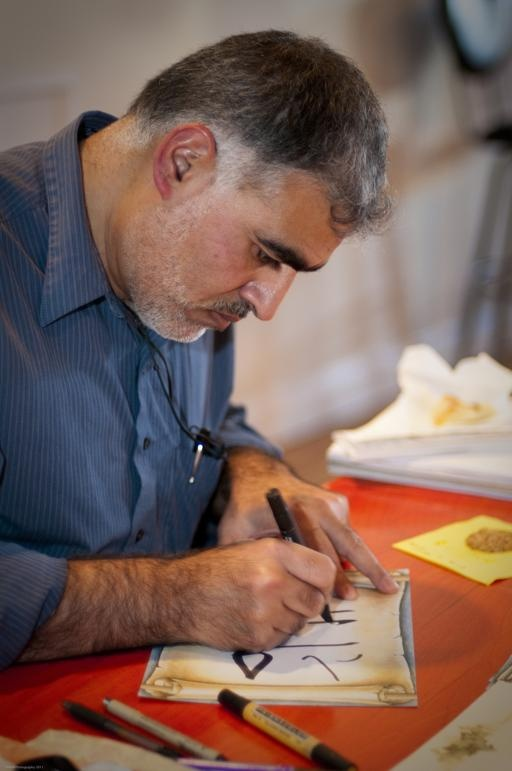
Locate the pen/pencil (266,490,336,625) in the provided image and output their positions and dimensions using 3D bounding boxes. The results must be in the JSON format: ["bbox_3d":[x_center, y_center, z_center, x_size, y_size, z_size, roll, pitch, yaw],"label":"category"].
[{"bbox_3d":[0.052,0.196,0.817,0.021,0.155,0.021,-35,12,-17],"label":"pen/pencil"}]
